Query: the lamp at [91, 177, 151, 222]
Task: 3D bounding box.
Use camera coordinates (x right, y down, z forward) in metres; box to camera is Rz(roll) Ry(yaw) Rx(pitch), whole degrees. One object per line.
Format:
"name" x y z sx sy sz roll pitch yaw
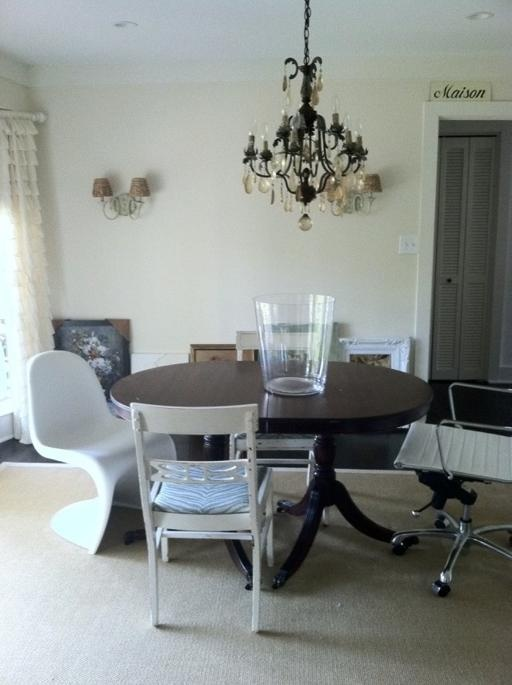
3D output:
"lamp" -0.877 -0.931 3.925 0.386 0.280 0.214 -1 11 -3
